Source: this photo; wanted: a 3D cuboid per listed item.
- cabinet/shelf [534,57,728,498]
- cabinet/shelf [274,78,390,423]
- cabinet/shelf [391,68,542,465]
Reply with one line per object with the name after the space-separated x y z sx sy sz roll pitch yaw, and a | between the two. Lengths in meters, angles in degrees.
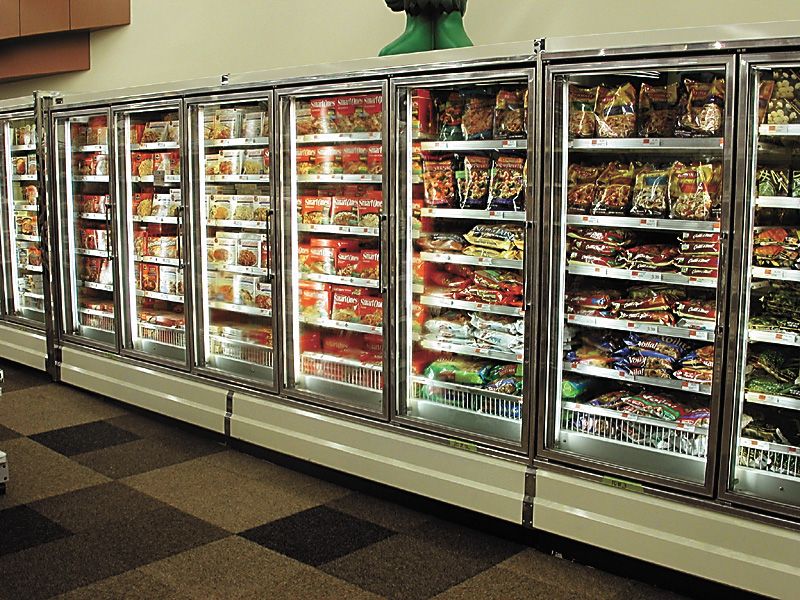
1.203 -0.170 3.423 0.962 2.005 0.809 6 14 24 | cabinet/shelf
-0.380 -0.362 4.334 0.939 1.990 0.604 9 15 33 | cabinet/shelf
0.377 -0.237 3.803 1.014 1.891 0.524 2 -1 21 | cabinet/shelf
